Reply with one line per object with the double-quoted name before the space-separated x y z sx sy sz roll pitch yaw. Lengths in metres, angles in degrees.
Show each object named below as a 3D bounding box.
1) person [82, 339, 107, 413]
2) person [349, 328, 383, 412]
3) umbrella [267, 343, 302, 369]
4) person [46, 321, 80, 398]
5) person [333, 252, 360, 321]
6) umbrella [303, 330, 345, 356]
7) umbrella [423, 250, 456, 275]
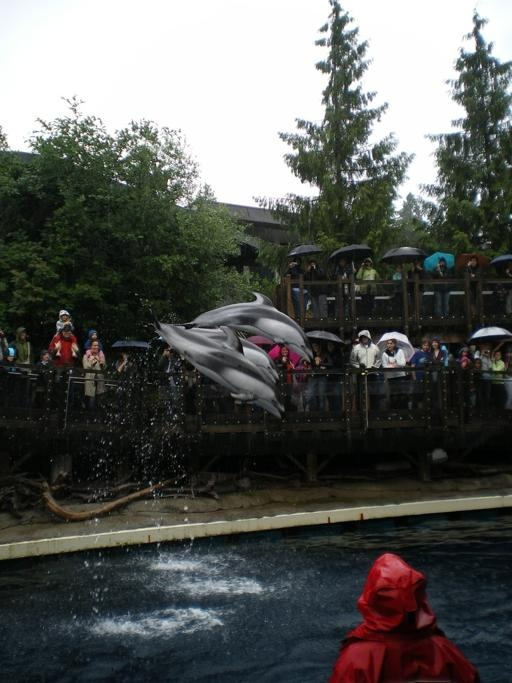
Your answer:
"person" -3.140 0.640 14.796 0.417 1.690 0.452 7 4 44
"person" 2.273 0.532 15.505 0.585 1.563 0.636 0 0 -4
"umbrella" 0.643 0.326 15.376 0.529 0.554 0.238 2 34 37
"person" -3.780 0.330 14.968 0.540 1.693 0.587 5 3 29
"person" 2.252 -1.488 19.490 0.621 1.810 0.983 1 6 5
"umbrella" 1.432 0.013 16.376 0.600 0.283 0.562 27 -15 -29
"umbrella" 4.753 -2.089 19.961 0.700 0.660 0.336 7 23 -8
